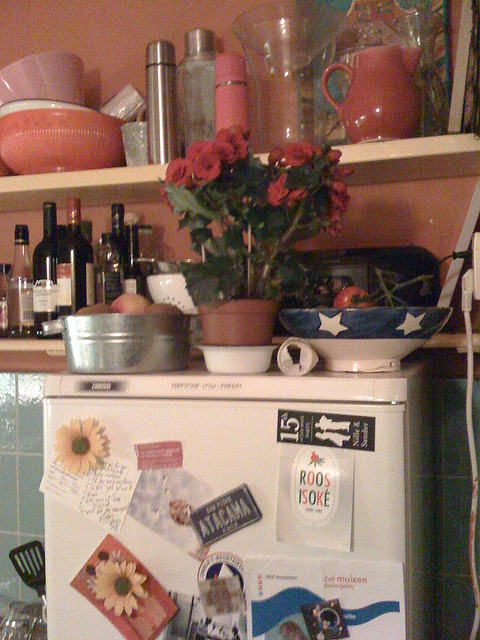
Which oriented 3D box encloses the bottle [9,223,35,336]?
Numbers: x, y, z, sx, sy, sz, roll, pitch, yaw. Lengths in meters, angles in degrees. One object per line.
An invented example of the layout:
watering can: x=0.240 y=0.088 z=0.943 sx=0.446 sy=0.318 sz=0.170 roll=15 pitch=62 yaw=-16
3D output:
bottle: x=-0.499 y=-0.091 z=1.262 sx=0.061 sy=0.244 sz=0.235 roll=-5 pitch=6 yaw=-20

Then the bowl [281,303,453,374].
bowl: x=0.161 y=0.026 z=0.739 sx=0.219 sy=0.098 sz=0.107 roll=-2 pitch=7 yaw=27

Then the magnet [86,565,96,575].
magnet: x=-0.199 y=0.334 z=0.739 sx=0.008 sy=0.011 sz=0.013 roll=-1 pitch=-31 yaw=-7

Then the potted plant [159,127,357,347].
potted plant: x=0.024 y=-0.118 z=0.795 sx=0.231 sy=0.305 sz=0.202 roll=-9 pitch=8 yaw=-41

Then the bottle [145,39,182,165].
bottle: x=-0.160 y=-0.447 z=1.133 sx=0.047 sy=0.240 sz=0.056 roll=4 pitch=32 yaw=3

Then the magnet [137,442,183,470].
magnet: x=-0.103 y=0.175 z=0.719 sx=0.061 sy=0.030 sz=0.008 roll=-4 pitch=5 yaw=13

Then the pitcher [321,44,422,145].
pitcher: x=0.231 y=-0.378 z=0.996 sx=0.152 sy=0.200 sz=0.138 roll=2 pitch=2 yaw=16

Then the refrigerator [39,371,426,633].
refrigerator: x=-0.023 y=0.245 z=0.746 sx=0.504 sy=0.371 sz=0.171 roll=-3 pitch=5 yaw=18

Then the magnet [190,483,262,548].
magnet: x=-0.017 y=0.241 z=0.688 sx=0.087 sy=0.062 sz=0.017 roll=-32 pitch=-14 yaw=13

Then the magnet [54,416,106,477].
magnet: x=-0.215 y=0.170 z=0.750 sx=0.079 sy=0.074 sz=0.020 roll=-2 pitch=5 yaw=22

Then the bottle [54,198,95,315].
bottle: x=-0.350 y=-0.136 z=1.171 sx=0.081 sy=0.231 sz=0.141 roll=-5 pitch=6 yaw=-22

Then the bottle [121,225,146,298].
bottle: x=-0.231 y=-0.128 z=1.189 sx=0.048 sy=0.149 sz=0.088 roll=-4 pitch=6 yaw=-10

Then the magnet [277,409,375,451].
magnet: x=0.100 y=0.130 z=0.657 sx=0.115 sy=0.043 sz=0.011 roll=-3 pitch=5 yaw=20

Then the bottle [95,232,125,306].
bottle: x=-0.279 y=-0.104 z=1.191 sx=0.053 sy=0.182 sz=0.052 roll=4 pitch=25 yaw=-2

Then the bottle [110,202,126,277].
bottle: x=-0.262 y=-0.172 z=1.203 sx=0.032 sy=0.154 sz=0.103 roll=-4 pitch=6 yaw=-11

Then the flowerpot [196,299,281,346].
flowerpot: x=-0.007 y=-0.011 z=0.838 sx=0.120 sy=0.082 sz=0.143 roll=5 pitch=17 yaw=15
